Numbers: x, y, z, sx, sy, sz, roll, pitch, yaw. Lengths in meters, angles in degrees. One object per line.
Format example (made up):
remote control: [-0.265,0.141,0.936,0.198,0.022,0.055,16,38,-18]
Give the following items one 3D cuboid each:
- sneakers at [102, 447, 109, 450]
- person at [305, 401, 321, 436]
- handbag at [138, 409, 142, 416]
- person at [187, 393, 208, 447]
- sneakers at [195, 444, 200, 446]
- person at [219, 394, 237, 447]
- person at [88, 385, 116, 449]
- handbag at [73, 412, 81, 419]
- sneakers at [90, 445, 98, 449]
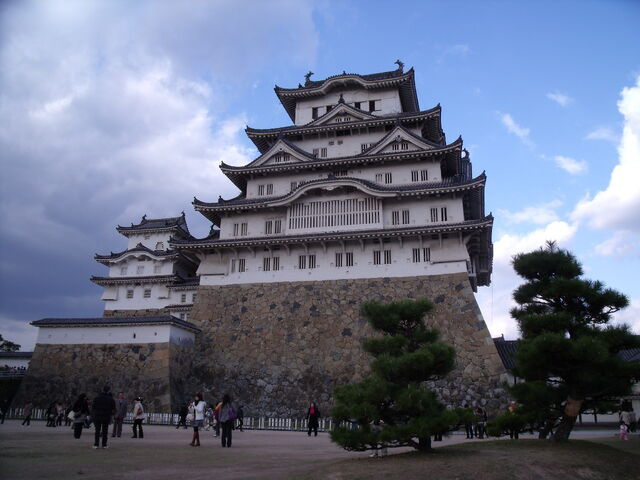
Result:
sneakers: [-7.673,7.423,20.991,0.188,0.085,0.064,-10,-13,31]
person: [-0.372,9.281,30.190,0.776,0.488,1.673,6,-57,10]
handbag: [-7.790,7.459,25.453,0.164,0.307,0.230,6,-12,-41]
person: [-5.048,7.211,23.829,0.626,1.972,0.626,-9,-18,32]
sneakers: [-4.751,7.946,22.827,0.192,0.105,0.528,5,-18,-9]
person: [-3.755,7.223,23.818,0.662,1.967,0.612,-2,-13,10]
person: [-7.874,6.392,21.254,0.695,2.134,0.826,8,-18,-19]
handbag: [-9.246,6.673,22.422,0.257,0.189,0.109,9,-18,-22]
sneakers: [-8.024,7.383,20.967,0.092,0.124,0.302,12,-17,-28]
